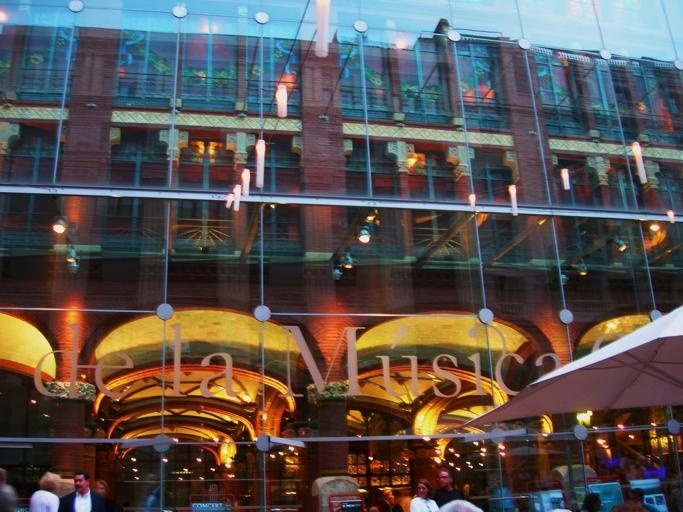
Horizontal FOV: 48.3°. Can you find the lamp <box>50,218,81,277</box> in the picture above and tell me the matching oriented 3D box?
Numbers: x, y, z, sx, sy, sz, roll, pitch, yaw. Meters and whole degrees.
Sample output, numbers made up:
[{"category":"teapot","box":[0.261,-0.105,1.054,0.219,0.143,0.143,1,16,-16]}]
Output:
[{"category":"lamp","box":[-5.915,-0.197,16.577,0.562,1.219,0.579,-22,22,-14]}]

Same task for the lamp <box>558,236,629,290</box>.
[{"category":"lamp","box":[6.041,0.119,18.264,1.728,1.240,0.310,1,-29,-9]}]
